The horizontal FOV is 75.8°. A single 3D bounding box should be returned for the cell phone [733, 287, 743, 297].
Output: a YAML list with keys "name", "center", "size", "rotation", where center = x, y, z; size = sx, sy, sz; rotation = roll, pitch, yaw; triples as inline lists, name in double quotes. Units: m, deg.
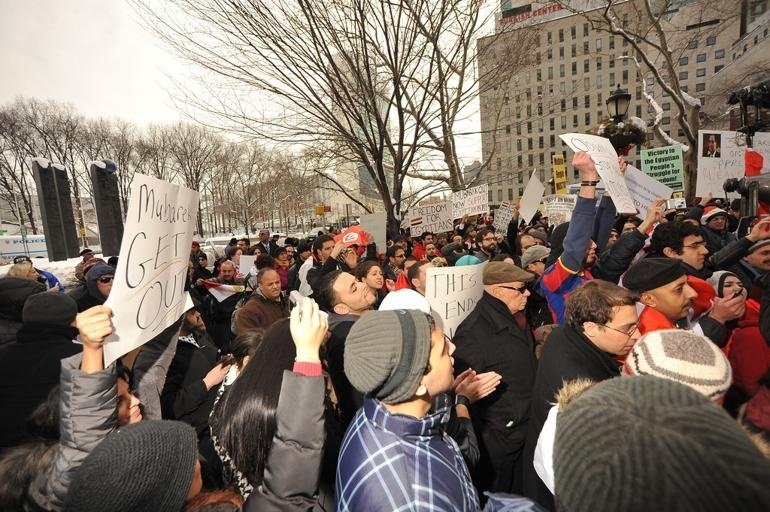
- name: "cell phone"
  center: [3.535, 0.374, 4.994]
  size: [0.098, 0.071, 0.065]
  rotation: [14, -12, 32]

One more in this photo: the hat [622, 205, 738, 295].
- name: "hat"
  center: [3.574, -0.234, 6.017]
  size: [0.987, 0.648, 1.176]
  rotation: [-15, 12, -14]
